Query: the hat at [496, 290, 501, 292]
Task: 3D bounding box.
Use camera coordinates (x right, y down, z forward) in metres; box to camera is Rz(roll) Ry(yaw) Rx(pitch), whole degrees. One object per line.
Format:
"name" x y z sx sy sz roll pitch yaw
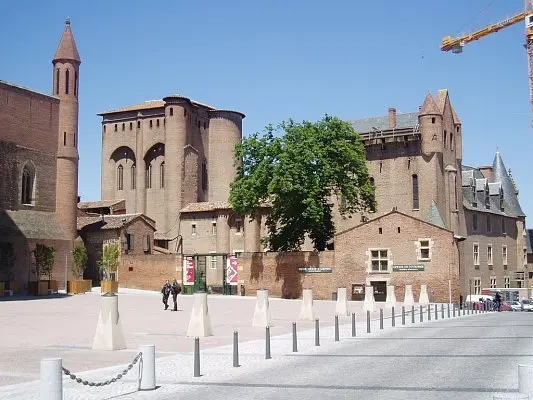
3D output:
"hat" 22.354 8.764 80.284 0.276 0.078 0.303 -18 10 -7
